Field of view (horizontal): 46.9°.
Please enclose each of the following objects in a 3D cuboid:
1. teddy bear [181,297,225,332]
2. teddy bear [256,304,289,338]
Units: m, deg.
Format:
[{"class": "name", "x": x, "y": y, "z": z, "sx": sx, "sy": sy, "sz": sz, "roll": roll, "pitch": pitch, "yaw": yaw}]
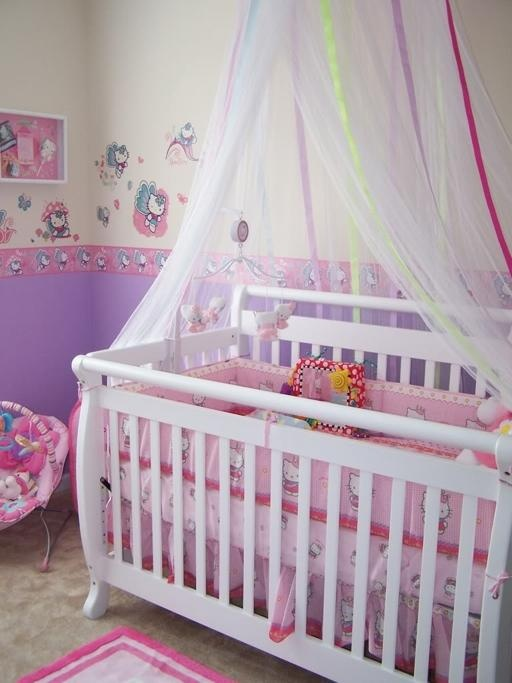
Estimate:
[{"class": "teddy bear", "x": -0.197, "y": -0.092, "z": 2.081, "sx": 0.092, "sy": 0.113, "sz": 0.174, "roll": 4, "pitch": 30, "yaw": 38}, {"class": "teddy bear", "x": 0.058, "y": -0.066, "z": 2.059, "sx": 0.101, "sy": 0.129, "sz": 0.102, "roll": 22, "pitch": 9, "yaw": 6}]
